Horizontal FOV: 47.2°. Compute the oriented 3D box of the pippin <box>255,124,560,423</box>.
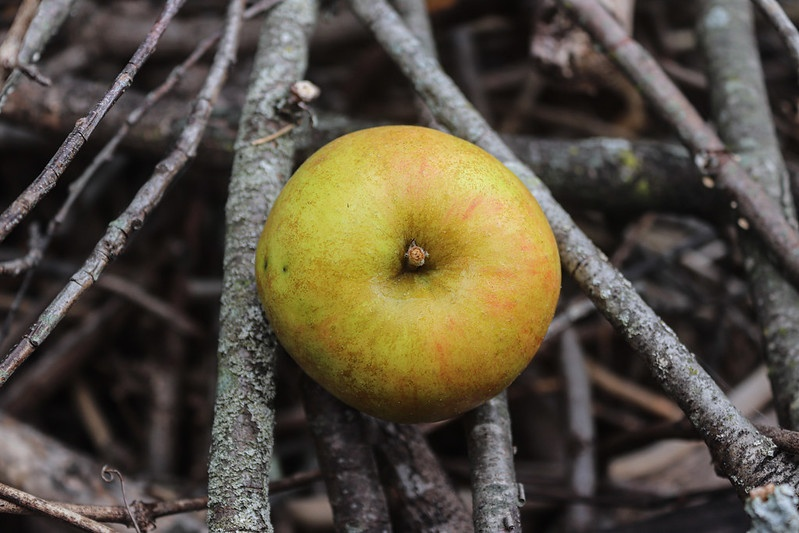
[{"bbox_3d":[0.056,-0.046,2.988,0.811,1.228,0.865,-3,-65,-7],"label":"pippin"}]
